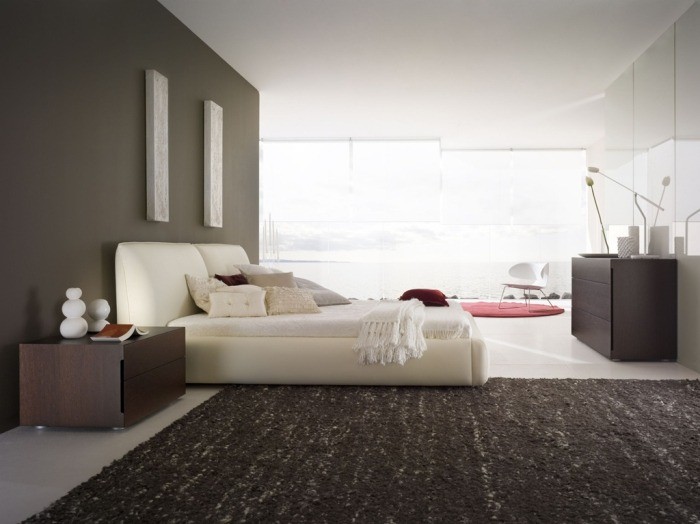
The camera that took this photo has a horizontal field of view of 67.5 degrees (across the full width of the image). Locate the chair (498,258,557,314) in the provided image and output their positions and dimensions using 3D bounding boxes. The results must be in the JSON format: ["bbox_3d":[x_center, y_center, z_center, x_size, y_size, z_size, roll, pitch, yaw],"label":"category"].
[{"bbox_3d":[2.937,0.339,8.764,0.802,1.009,0.951,1,-3,-40],"label":"chair"}]

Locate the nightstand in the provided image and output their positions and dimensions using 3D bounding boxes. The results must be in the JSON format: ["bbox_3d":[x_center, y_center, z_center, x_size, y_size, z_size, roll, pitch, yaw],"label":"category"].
[{"bbox_3d":[-1.663,0.673,3.529,0.565,0.470,0.855,0,-2,4],"label":"nightstand"}]
